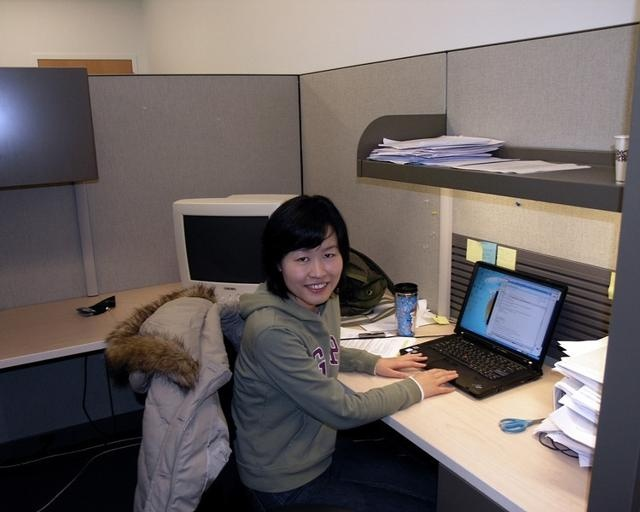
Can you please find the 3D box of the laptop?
[{"bbox_3d":[0.510,0.233,1.537,0.399,0.318,0.416,-8,16,-28],"label":"laptop"}]

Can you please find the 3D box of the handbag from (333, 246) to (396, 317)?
[{"bbox_3d":[0.174,0.125,1.950,0.202,0.297,0.106,-10,-11,2],"label":"handbag"}]

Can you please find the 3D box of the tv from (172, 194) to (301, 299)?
[{"bbox_3d":[-0.335,-0.074,2.258,0.653,0.578,0.384,2,18,4],"label":"tv"}]
